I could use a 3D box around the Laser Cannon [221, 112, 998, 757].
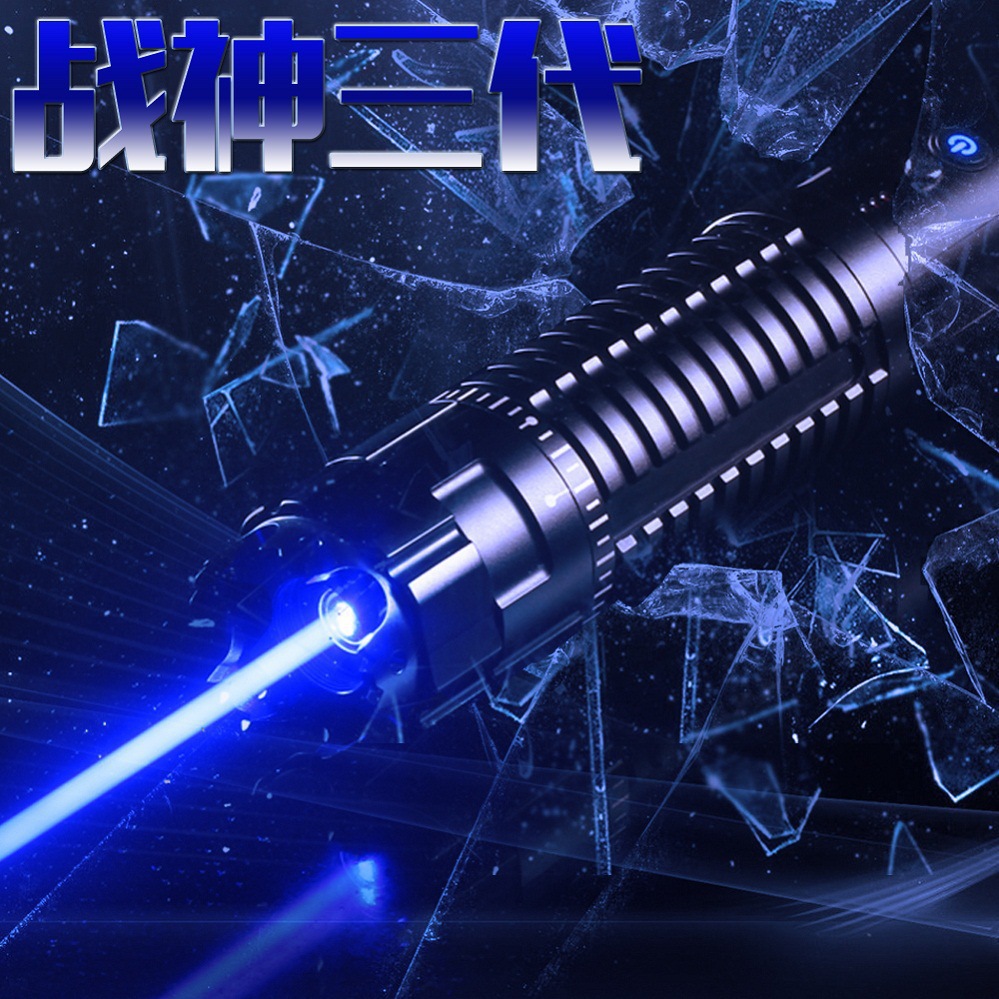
[{"bbox_3d":[0.073,-0.034,1.347,0.772,0.514,0.702,5,-75,-7],"label":"Laser Cannon"}]
